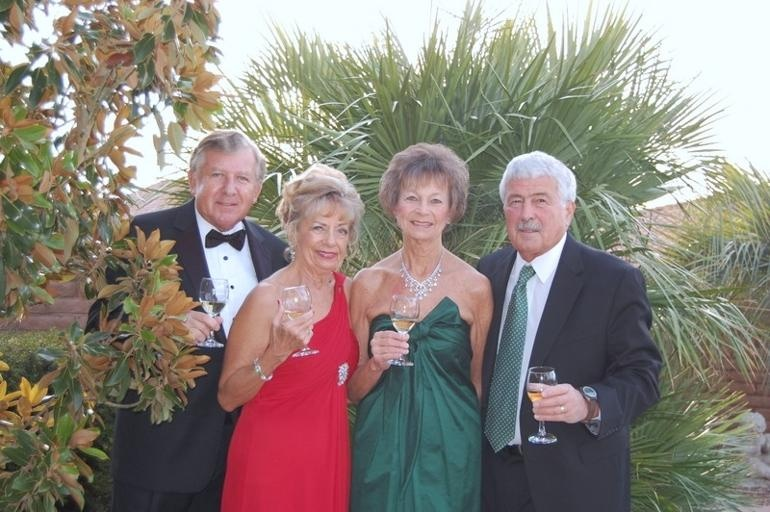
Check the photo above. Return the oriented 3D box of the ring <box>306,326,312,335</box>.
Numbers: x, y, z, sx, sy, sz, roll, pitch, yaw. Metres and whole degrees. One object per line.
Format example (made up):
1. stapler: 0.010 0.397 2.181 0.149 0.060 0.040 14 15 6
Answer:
1. ring: -0.443 0.434 3.448 0.027 0.039 0.012 0 -11 -22

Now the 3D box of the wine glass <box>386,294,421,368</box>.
1. wine glass: 0.116 0.489 3.874 0.191 0.398 0.488 5 -4 2

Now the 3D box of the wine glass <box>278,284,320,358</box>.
1. wine glass: -0.525 0.409 3.583 0.240 0.393 0.396 5 -3 -6

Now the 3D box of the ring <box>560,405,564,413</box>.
1. ring: 1.008 0.876 3.338 0.033 0.038 0.031 -2 4 0

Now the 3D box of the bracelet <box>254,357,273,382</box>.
1. bracelet: -0.745 0.673 3.549 0.135 0.138 0.039 -17 -4 35
